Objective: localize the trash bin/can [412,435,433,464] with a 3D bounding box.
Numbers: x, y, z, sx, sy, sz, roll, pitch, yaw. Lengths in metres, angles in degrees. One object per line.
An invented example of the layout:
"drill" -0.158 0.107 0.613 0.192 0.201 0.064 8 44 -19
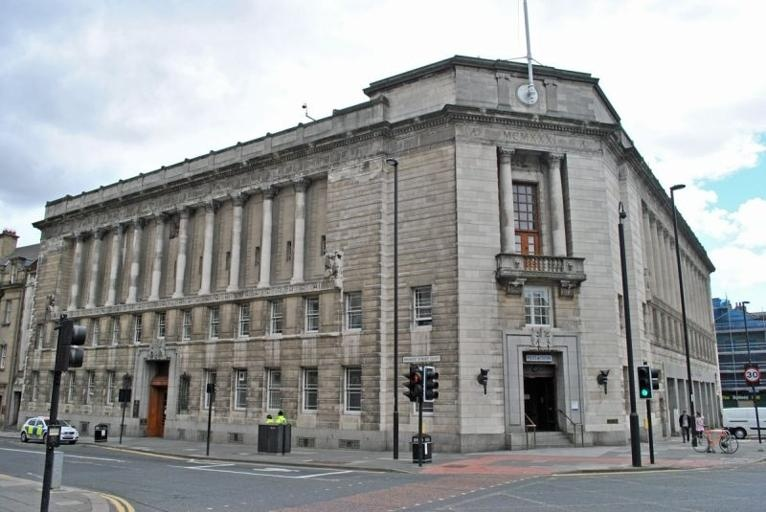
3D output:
"trash bin/can" 2.039 10.683 39.909 0.859 1.545 1.338 -10 -20 26

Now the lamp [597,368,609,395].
"lamp" 14.074 8.035 46.261 0.871 1.548 0.282 5 -19 -18

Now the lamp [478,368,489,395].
"lamp" 6.190 7.792 44.869 0.661 1.583 0.479 12 -23 -35

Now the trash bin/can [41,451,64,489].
"trash bin/can" -14.951 9.861 33.212 0.441 1.689 0.928 7 -20 -23

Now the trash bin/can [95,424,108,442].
"trash bin/can" -20.331 12.841 52.102 0.686 0.974 1.065 -4 -10 4
